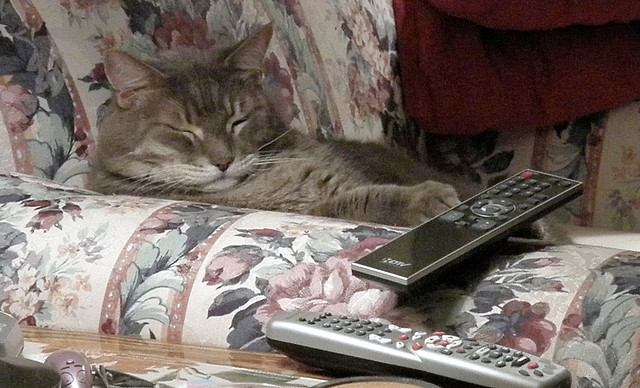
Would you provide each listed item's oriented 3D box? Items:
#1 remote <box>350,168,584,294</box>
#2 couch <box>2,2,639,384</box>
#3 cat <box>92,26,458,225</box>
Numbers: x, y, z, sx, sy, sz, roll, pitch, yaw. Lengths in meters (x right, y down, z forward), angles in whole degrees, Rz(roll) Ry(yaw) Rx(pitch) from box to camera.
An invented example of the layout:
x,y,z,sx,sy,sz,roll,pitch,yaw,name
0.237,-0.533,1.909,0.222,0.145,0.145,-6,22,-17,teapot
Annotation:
x,y,z,sx,sy,sz,roll,pitch,yaw,name
0.193,0.036,0.698,0.326,0.142,0.074,-2,-2,-31,remote
-0.015,-0.024,0.832,0.377,0.335,0.516,-4,13,23,couch
-0.068,-0.061,1.017,0.544,0.359,0.204,10,-40,12,cat
